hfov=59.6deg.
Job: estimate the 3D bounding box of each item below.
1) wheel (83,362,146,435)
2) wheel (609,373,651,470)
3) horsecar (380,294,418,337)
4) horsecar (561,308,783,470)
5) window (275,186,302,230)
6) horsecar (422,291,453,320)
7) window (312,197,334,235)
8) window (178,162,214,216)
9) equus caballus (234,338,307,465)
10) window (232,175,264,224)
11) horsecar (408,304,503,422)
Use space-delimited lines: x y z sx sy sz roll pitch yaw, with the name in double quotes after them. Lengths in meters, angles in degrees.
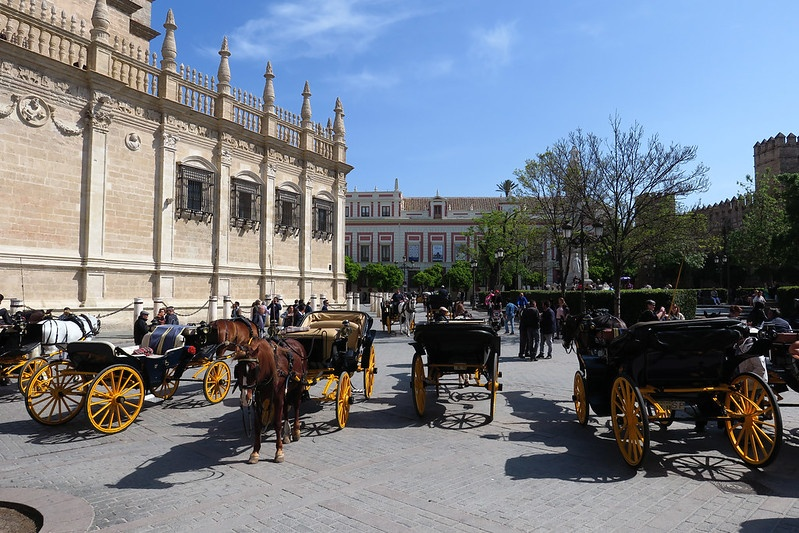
-6.480 3.067 16.098 0.435 1.496 1.527 -3 -13 34 "wheel"
4.811 3.241 14.640 0.423 1.860 1.263 0 -4 -11 "wheel"
-0.036 2.312 33.074 1.013 1.702 3.118 -4 -1 -31 "horsecar"
5.915 2.424 16.567 3.077 2.662 6.015 2 7 -3 "horsecar"
-6.165 -3.223 38.402 0.439 2.307 2.528 -2 -3 26 "window"
1.498 1.566 28.942 0.962 1.047 1.243 -2 -20 7 "horsecar"
-4.633 -2.991 41.416 0.561 2.195 2.488 2 5 24 "window"
-9.654 -3.654 32.922 0.865 2.230 2.630 -1 -4 21 "window"
-2.738 2.873 15.121 0.704 2.620 1.797 -2 -4 24 "equus caballus"
-7.813 -3.432 35.690 0.847 2.665 2.716 -2 -2 29 "window"
1.369 2.426 17.635 2.090 2.712 2.714 0 -4 1 "horsecar"
